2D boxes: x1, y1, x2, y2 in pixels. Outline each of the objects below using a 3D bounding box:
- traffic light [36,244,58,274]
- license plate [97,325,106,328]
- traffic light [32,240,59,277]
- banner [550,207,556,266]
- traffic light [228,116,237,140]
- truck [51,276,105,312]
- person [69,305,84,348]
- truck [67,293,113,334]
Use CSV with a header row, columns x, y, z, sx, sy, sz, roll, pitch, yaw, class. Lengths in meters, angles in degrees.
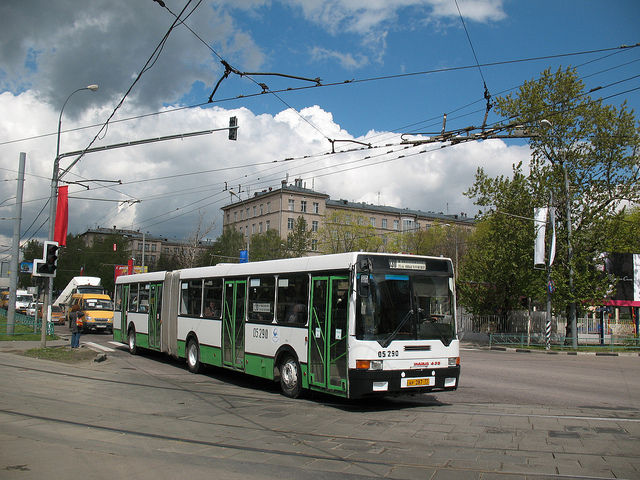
x,y,z,sx,sy,sz,roll,pitch,yaw,class
-10.327,0.690,22.652,0.694,1.326,0.405,7,-23,-27,traffic light
-13.300,5.230,36.464,0.466,0.154,0.082,4,-3,-29,license plate
-10.470,0.686,22.893,0.820,1.385,0.758,3,-3,-28,traffic light
13.021,-0.224,33.339,0.122,3.167,0.506,5,0,-11,banner
-2.776,-3.539,19.012,0.191,0.735,0.198,1,-2,2,traffic light
-17.113,4.143,43.230,2.294,2.812,4.684,5,-10,-35,truck
-10.378,3.756,25.461,0.492,1.635,1.871,2,-3,-22,person
-14.072,4.236,37.549,2.651,2.725,5.624,3,-10,-28,truck
